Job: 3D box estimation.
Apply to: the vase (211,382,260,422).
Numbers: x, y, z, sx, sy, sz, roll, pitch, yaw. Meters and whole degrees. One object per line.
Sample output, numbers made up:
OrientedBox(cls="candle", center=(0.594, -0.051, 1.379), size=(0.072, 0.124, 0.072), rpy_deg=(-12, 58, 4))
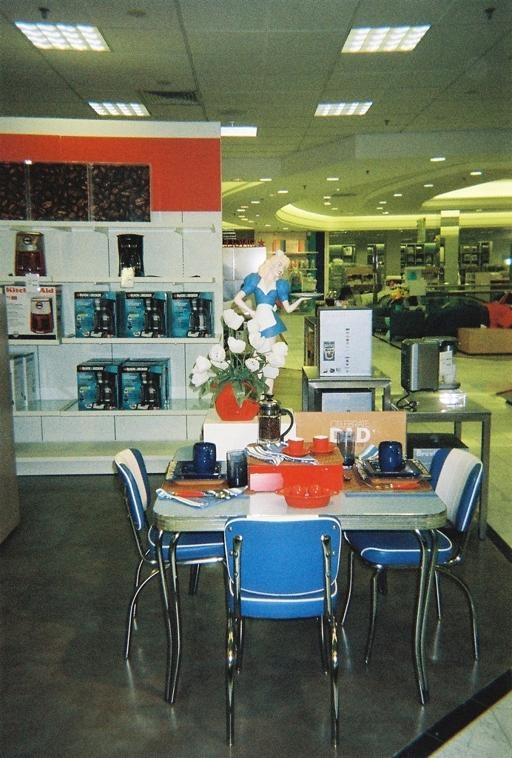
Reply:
OrientedBox(cls="vase", center=(-0.092, 0.105, 2.770), size=(0.177, 0.148, 0.169), rpy_deg=(0, 3, -12))

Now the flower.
OrientedBox(cls="flower", center=(-0.073, 0.002, 2.686), size=(0.338, 0.354, 0.322), rpy_deg=(4, -17, 4))

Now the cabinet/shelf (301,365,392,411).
OrientedBox(cls="cabinet/shelf", center=(0.591, 0.079, 3.936), size=(0.378, 0.396, 0.371), rpy_deg=(-1, 8, -2))

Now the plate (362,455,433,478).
OrientedBox(cls="plate", center=(0.521, 0.335, 2.306), size=(0.220, 0.040, 0.221), rpy_deg=(-1, 4, 0))

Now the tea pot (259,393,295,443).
OrientedBox(cls="tea pot", center=(0.084, 0.170, 2.595), size=(0.138, 0.211, 0.345), rpy_deg=(0, 4, 6))

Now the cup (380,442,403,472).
OrientedBox(cls="cup", center=(0.484, 0.285, 2.208), size=(0.098, 0.111, 0.099), rpy_deg=(-1, 1, 0))

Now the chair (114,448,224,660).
OrientedBox(cls="chair", center=(-0.330, 0.693, 2.513), size=(0.491, 0.708, 0.473), rpy_deg=(0, 3, -27))

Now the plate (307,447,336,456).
OrientedBox(cls="plate", center=(0.245, 0.272, 2.284), size=(0.096, 0.022, 0.132), rpy_deg=(0, 4, 7))

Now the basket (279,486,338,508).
OrientedBox(cls="basket", center=(0.163, 0.388, 1.982), size=(0.153, 0.063, 0.109), rpy_deg=(-1, 4, 2))

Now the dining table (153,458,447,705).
OrientedBox(cls="dining table", center=(0.186, 0.716, 2.229), size=(0.909, 0.639, 0.716), rpy_deg=(0, 6, 2))

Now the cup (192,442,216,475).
OrientedBox(cls="cup", center=(-0.188, 0.291, 2.208), size=(0.100, 0.123, 0.097), rpy_deg=(2, -1, 0))

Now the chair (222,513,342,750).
OrientedBox(cls="chair", center=(0.076, 0.746, 1.828), size=(0.340, 0.732, 0.211), rpy_deg=(-1, 4, 1))

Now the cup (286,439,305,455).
OrientedBox(cls="cup", center=(0.144, 0.250, 2.255), size=(0.069, 0.058, 0.099), rpy_deg=(0, 4, 2))

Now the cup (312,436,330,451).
OrientedBox(cls="cup", center=(0.253, 0.244, 2.301), size=(0.045, 0.045, 0.060), rpy_deg=(-1, -1, 1))
